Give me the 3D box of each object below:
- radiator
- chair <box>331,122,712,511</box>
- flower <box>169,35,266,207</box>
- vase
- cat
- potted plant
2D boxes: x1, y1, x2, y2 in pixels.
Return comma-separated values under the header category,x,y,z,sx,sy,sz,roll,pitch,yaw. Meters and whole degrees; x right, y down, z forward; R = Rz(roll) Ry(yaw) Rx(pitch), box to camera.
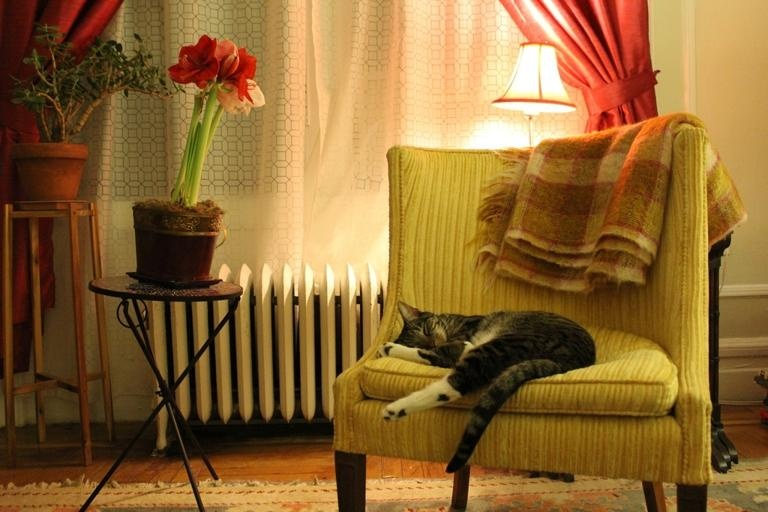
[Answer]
category,x,y,z,sx,sy,sz,roll,pitch,yaw
radiator,-0.529,0.440,3.239,0.926,0.672,0.158,0,2,-1
chair,0.614,0.176,3.158,1.543,1.788,1.425,-1,-9,11
flower,-0.627,-0.499,2.735,0.337,0.628,0.246,2,1,-11
vase,-0.791,-0.059,2.833,0.351,0.313,0.360,-4,9,-43
cat,0.368,0.459,2.595,0.680,0.176,0.644,1,30,13
potted plant,-1.381,-0.662,3.421,0.660,0.834,0.438,2,1,-26
